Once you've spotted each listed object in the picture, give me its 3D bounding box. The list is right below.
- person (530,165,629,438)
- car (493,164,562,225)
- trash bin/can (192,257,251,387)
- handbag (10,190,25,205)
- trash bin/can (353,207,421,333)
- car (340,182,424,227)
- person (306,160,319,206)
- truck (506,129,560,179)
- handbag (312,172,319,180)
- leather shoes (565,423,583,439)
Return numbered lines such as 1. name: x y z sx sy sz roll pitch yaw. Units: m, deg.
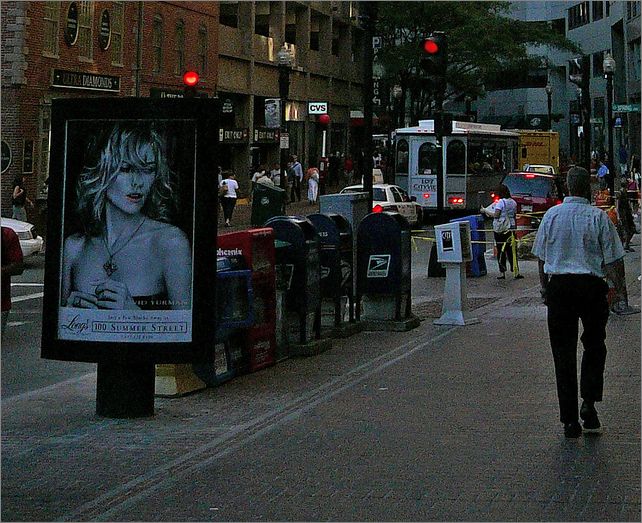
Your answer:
1. person: 2.222 0.337 8.214 0.739 2.292 0.610 -1 6 9
2. car: 6.417 -1.952 29.469 1.719 1.600 3.100 2 12 19
3. trash bin/can: -1.003 0.634 10.403 0.452 1.385 0.810 1 7 31
4. handbag: -8.377 -1.738 26.157 0.345 0.389 0.360 3 0 43
5. trash bin/can: 0.930 0.129 13.522 0.863 1.676 0.560 -2 6 3
6. car: 2.325 -1.776 30.314 1.226 0.889 2.748 1 6 23
7. person: -0.360 -3.214 40.601 0.370 1.544 1.628 -2 6 -4
8. truck: 10.331 -5.686 47.168 2.949 3.078 1.938 0 3 11
9. handbag: -0.282 -3.574 39.949 0.251 0.222 0.440 5 49 -4
10. leather shoes: 2.155 1.416 8.102 0.148 0.129 0.186 0 6 13
